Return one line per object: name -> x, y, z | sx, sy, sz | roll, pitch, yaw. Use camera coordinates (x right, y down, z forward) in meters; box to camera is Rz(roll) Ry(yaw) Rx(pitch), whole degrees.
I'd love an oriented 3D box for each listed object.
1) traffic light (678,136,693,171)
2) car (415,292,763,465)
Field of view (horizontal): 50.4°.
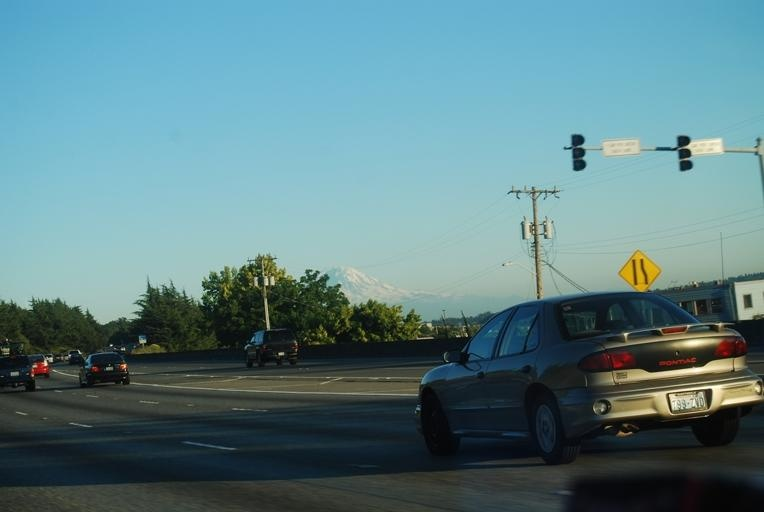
traffic light -> 9.556, -3.198, 25.605 | 0.450, 1.148, 1.644 | -9, -3, 21
car -> 2.475, 1.544, 11.988 | 2.694, 1.521, 4.267 | 1, -2, -28
